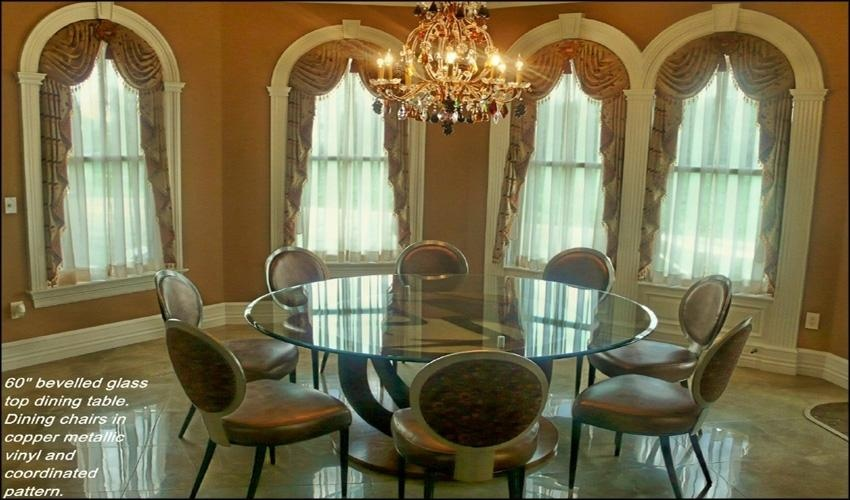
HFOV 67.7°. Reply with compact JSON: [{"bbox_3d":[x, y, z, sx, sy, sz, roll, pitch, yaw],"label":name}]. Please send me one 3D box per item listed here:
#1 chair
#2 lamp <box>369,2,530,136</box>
[{"bbox_3d":[-0.031,0.940,5.072,3.893,1.794,1.749,-1,5,11],"label":"chair"},{"bbox_3d":[0.218,-1.464,5.178,1.220,1.096,0.994,-1,5,8],"label":"lamp"}]
